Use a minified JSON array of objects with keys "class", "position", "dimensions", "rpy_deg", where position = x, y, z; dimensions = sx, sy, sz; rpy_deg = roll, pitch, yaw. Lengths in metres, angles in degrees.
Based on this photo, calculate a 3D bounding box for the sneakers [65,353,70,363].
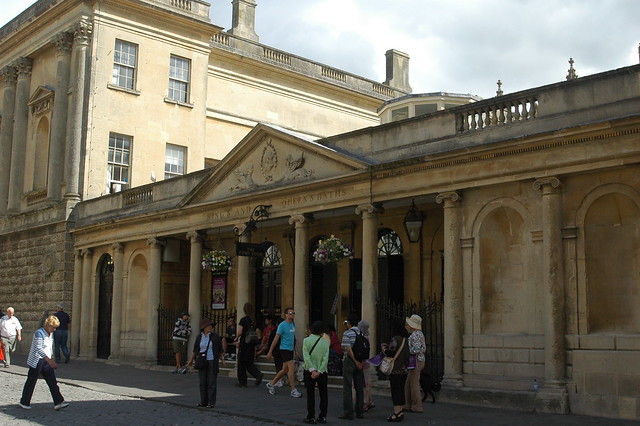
[{"class":"sneakers","position":[-10.529,6.073,32.641],"dimensions":[0.173,0.470,0.201],"rpy_deg":[12,2,-16]}]

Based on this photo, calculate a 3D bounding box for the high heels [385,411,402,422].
[{"class":"high heels","position":[1.896,5.204,19.974],"dimensions":[0.404,0.234,0.186],"rpy_deg":[0,-10,17]}]

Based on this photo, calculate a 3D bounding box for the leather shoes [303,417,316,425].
[{"class":"leather shoes","position":[-0.249,5.221,19.706],"dimensions":[0.159,0.123,0.289],"rpy_deg":[4,-2,-31]}]

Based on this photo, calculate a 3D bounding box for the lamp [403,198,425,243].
[{"class":"lamp","position":[3.128,0.312,26.002],"dimensions":[0.693,1.432,2.404],"rpy_deg":[-1,-13,7]}]

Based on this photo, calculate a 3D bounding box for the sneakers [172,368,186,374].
[{"class":"sneakers","position":[-5.202,5.767,28.665],"dimensions":[0.547,0.231,0.185],"rpy_deg":[2,-11,17]}]

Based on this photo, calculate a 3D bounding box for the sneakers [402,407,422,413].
[{"class":"sneakers","position":[2.481,5.273,20.929],"dimensions":[0.441,0.183,0.161],"rpy_deg":[-5,-12,14]}]

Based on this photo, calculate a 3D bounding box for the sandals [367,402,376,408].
[{"class":"sandals","position":[1.425,5.282,21.471],"dimensions":[0.134,0.134,0.502],"rpy_deg":[-3,-13,16]}]

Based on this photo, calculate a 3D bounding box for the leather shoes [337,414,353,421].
[{"class":"leather shoes","position":[0.671,5.252,20.186],"dimensions":[0.394,0.153,0.295],"rpy_deg":[-1,-13,7]}]

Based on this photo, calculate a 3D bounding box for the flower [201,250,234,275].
[{"class":"flower","position":[-4.140,1.851,31.622],"dimensions":[1.144,0.985,2.634],"rpy_deg":[2,-13,-5]}]

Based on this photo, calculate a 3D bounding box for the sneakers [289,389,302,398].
[{"class":"sneakers","position":[-0.716,5.330,23.126],"dimensions":[0.136,0.162,0.363],"rpy_deg":[10,-16,-38]}]

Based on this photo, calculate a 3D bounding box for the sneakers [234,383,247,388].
[{"class":"sneakers","position":[-2.534,5.509,25.085],"dimensions":[0.323,0.224,0.118],"rpy_deg":[4,-4,25]}]

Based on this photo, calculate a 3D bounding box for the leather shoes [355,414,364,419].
[{"class":"leather shoes","position":[1.030,5.292,20.391],"dimensions":[0.160,0.153,0.101],"rpy_deg":[-16,-20,39]}]

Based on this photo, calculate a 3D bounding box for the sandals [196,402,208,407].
[{"class":"sandals","position":[-3.204,5.247,21.468],"dimensions":[0.123,0.122,0.341],"rpy_deg":[1,-14,3]}]

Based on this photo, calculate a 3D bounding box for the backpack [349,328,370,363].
[{"class":"backpack","position":[1.072,3.443,20.255],"dimensions":[0.295,0.808,0.514],"rpy_deg":[-6,-15,27]}]

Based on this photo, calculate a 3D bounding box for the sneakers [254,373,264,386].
[{"class":"sneakers","position":[-1.958,5.320,25.139],"dimensions":[0.180,0.462,0.225],"rpy_deg":[4,3,-5]}]

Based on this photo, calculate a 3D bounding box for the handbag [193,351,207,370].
[{"class":"handbag","position":[-3.236,4.032,21.335],"dimensions":[0.310,0.448,0.235],"rpy_deg":[3,-13,-10]}]

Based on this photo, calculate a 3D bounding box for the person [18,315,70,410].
[{"class":"person","position":[-7.470,3.994,21.278],"dimensions":[1.077,2.551,1.494],"rpy_deg":[6,-14,-21]}]

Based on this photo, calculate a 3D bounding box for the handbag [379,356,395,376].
[{"class":"handbag","position":[1.736,3.915,20.201],"dimensions":[0.391,0.426,0.205],"rpy_deg":[-1,-13,11]}]

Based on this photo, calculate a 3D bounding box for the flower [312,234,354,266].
[{"class":"flower","position":[0.440,1.204,26.168],"dimensions":[1.120,0.895,1.002],"rpy_deg":[-7,21,24]}]

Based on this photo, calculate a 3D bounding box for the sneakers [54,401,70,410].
[{"class":"sneakers","position":[-6.907,5.126,20.862],"dimensions":[0.436,0.186,0.155],"rpy_deg":[-25,-24,19]}]

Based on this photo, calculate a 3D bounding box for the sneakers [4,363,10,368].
[{"class":"sneakers","position":[-11.849,5.760,29.584],"dimensions":[0.108,0.125,0.315],"rpy_deg":[4,-13,-42]}]

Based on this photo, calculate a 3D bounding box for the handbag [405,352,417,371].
[{"class":"handbag","position":[2.430,3.893,20.605],"dimensions":[0.394,0.389,0.117],"rpy_deg":[4,-21,-11]}]

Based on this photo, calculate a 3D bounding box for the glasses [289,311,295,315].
[{"class":"glasses","position":[-0.855,3.006,23.589],"dimensions":[0.123,0.041,0.127],"rpy_deg":[4,-16,-34]}]

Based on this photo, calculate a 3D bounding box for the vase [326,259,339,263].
[{"class":"vase","position":[0.437,1.597,26.042],"dimensions":[0.239,0.127,0.234],"rpy_deg":[7,-12,-41]}]

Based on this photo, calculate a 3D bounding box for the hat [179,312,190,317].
[{"class":"hat","position":[-5.234,3.921,30.288],"dimensions":[0.379,0.164,0.527],"rpy_deg":[2,-15,-9]}]

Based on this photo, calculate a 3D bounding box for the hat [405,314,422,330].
[{"class":"hat","position":[2.529,2.963,20.988],"dimensions":[0.411,0.213,0.383],"rpy_deg":[14,32,4]}]

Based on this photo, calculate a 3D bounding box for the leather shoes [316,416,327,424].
[{"class":"leather shoes","position":[0.053,5.239,19.852],"dimensions":[0.257,0.168,0.265],"rpy_deg":[1,-13,-1]}]

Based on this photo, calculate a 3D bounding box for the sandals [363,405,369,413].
[{"class":"sandals","position":[1.228,5.271,21.079],"dimensions":[0.203,0.231,0.603],"rpy_deg":[-1,-13,3]}]

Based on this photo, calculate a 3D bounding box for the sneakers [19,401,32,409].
[{"class":"sneakers","position":[-7.916,5.139,20.996],"dimensions":[0.345,0.126,0.128],"rpy_deg":[-4,-7,36]}]
